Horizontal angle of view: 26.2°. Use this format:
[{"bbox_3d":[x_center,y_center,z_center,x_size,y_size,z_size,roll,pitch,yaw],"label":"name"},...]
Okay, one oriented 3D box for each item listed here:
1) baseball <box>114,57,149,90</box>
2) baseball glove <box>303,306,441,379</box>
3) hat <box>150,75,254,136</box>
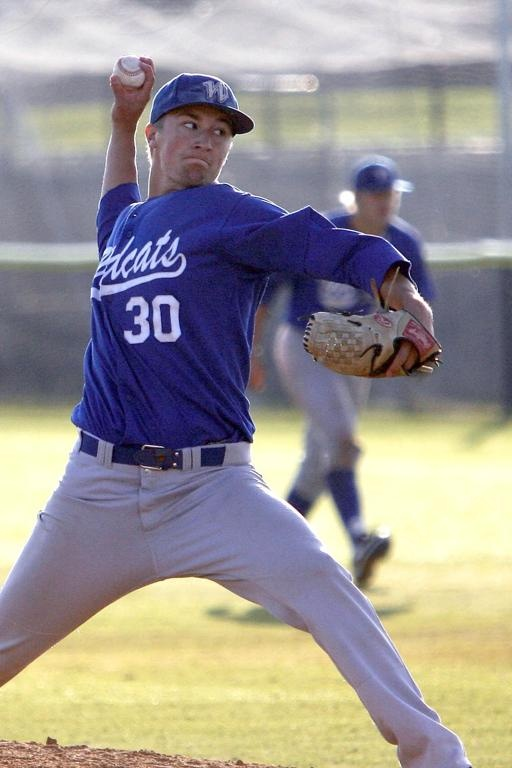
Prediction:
[{"bbox_3d":[-0.322,-0.798,2.832,0.099,0.075,0.083,11,37,-4],"label":"baseball"},{"bbox_3d":[0.244,-0.096,2.264,0.234,0.131,0.106,15,33,26],"label":"baseball glove"},{"bbox_3d":[-0.127,-0.655,2.580,0.154,0.090,0.197,5,-8,-36],"label":"hat"}]
